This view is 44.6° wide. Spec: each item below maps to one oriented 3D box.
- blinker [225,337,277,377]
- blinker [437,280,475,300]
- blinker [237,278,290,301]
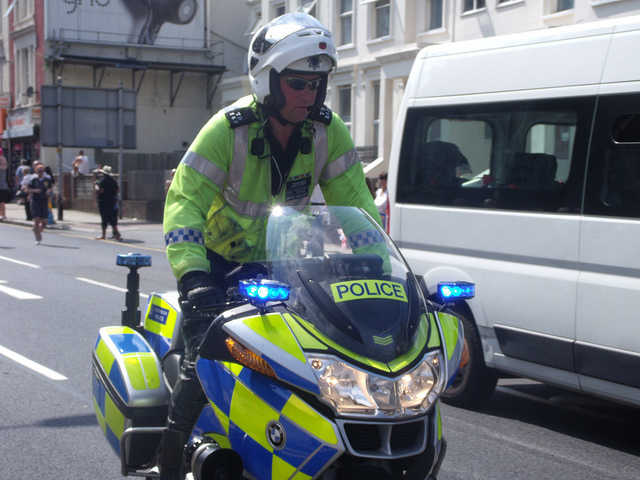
[{"bbox_3d":[-0.345,0.570,3.863,0.332,0.141,0.029,7,7,39],"label":"blinker"},{"bbox_3d":[0.715,0.266,4.170,0.132,0.093,0.109,2,-2,-2],"label":"blinker"},{"bbox_3d":[-0.270,0.237,3.792,0.242,0.097,0.139,1,6,-3],"label":"blinker"}]
